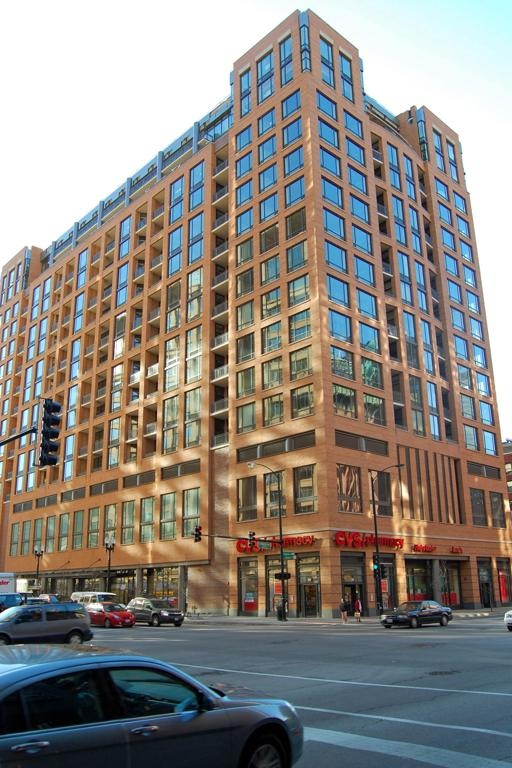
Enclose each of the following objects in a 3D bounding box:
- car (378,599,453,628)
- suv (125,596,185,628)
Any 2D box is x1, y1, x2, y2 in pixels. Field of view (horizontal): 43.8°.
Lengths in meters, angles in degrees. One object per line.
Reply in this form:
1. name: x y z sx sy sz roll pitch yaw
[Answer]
1. car: 8.176 11.662 32.357 4.557 1.244 1.318 13 -26 -35
2. suv: -6.100 14.100 39.497 1.851 1.504 3.878 12 -27 -33
